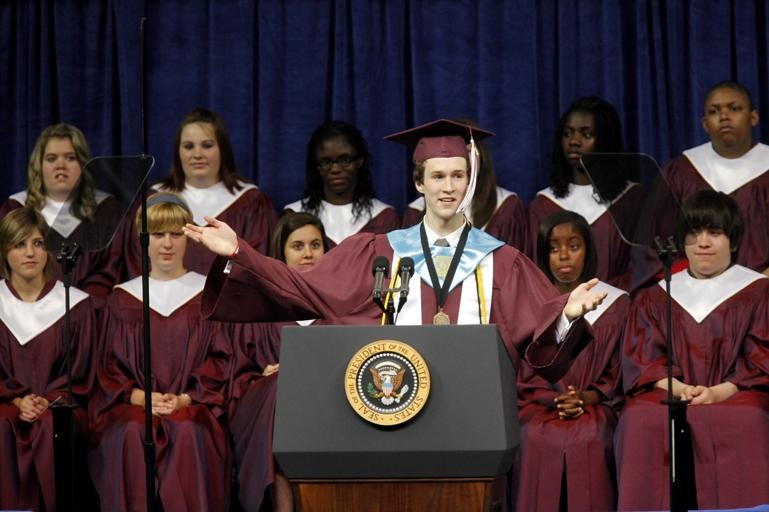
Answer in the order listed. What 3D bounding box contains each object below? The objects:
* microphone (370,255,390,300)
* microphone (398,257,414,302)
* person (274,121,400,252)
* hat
[{"bbox_3d":[-0.020,0.120,5.112,0.084,0.244,0.257,-2,-3,0],"label":"microphone"},{"bbox_3d":[0.107,0.120,5.145,0.079,0.237,0.254,-2,-3,0],"label":"microphone"},{"bbox_3d":[-0.332,-0.548,7.916,1.004,0.965,0.513,0,5,8],"label":"person"},{"bbox_3d":[0.399,-0.537,5.826,0.580,0.466,0.518,-10,-5,-8],"label":"hat"}]
